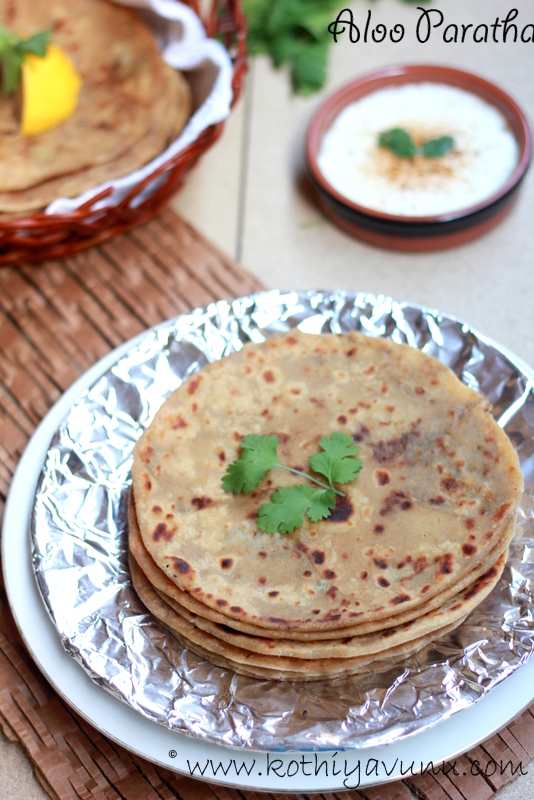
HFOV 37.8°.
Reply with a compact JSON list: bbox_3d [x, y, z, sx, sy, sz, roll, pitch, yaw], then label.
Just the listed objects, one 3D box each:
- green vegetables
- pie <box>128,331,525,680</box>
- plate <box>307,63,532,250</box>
[{"bbox_3d":[0.056,0.158,1.574,0.270,0.069,0.214,9,41,-9],"label":"green vegetables"},{"bbox_3d":[0.074,0.165,1.594,0.702,0.202,0.661,-23,46,-11],"label":"pie"},{"bbox_3d":[0.415,-0.688,2.162,0.619,0.187,0.554,-8,53,1],"label":"plate"}]
